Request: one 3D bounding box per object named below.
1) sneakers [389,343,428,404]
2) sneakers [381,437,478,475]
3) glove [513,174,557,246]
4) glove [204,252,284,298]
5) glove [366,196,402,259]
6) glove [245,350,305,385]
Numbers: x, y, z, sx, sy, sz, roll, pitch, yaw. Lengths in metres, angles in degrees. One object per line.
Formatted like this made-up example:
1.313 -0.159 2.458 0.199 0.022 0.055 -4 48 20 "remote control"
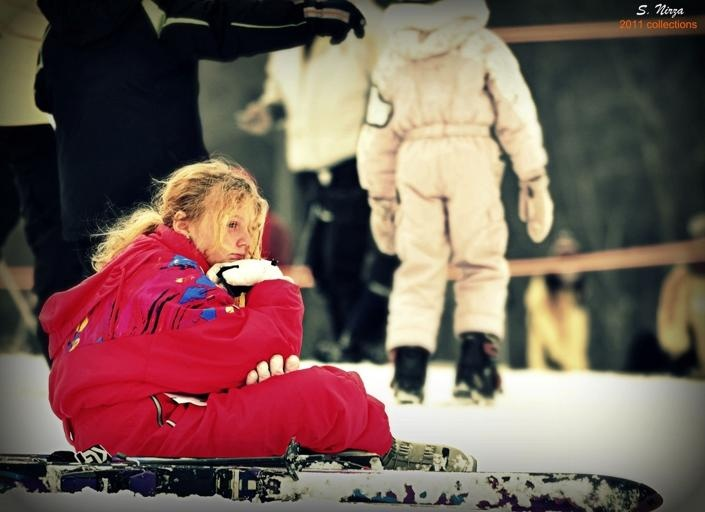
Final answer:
0.204 0.541 5.655 0.157 0.257 0.267 5 -17 -6 "sneakers"
0.320 0.897 5.421 0.463 0.152 0.186 4 -24 -9 "sneakers"
0.833 -0.208 5.612 0.180 0.301 0.103 -2 -3 9 "glove"
-0.474 0.139 5.165 0.288 0.237 0.103 8 -43 -2 "glove"
0.142 -0.138 5.744 0.225 0.222 0.091 13 -1 18 "glove"
-0.327 0.462 5.046 0.207 0.122 0.031 1 3 -10 "glove"
